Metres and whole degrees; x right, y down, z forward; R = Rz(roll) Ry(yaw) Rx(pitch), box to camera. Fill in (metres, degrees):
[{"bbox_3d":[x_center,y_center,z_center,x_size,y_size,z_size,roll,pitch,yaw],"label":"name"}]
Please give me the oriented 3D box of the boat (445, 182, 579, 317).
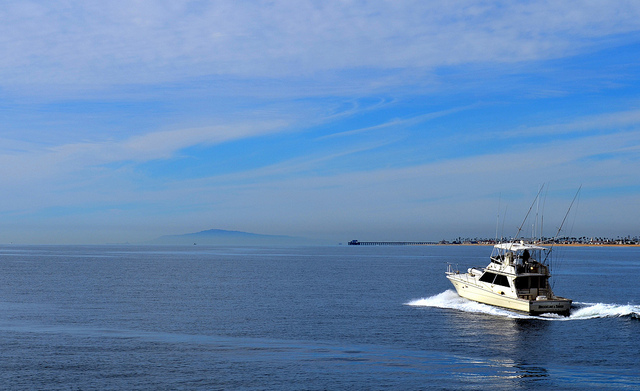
[{"bbox_3d":[33.824,15.408,173.868,33.608,15.430,12.419,1,-3,28],"label":"boat"}]
